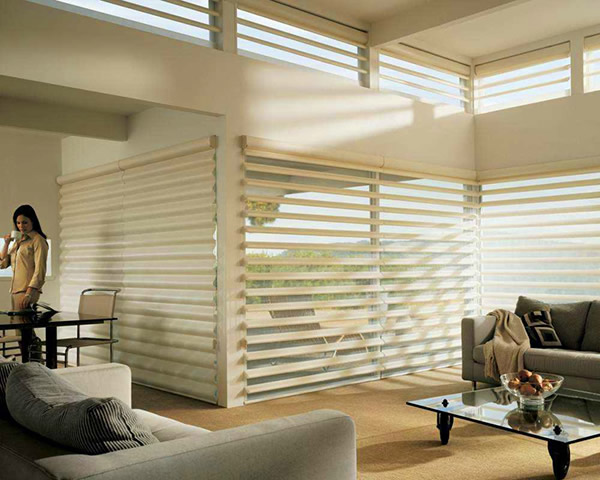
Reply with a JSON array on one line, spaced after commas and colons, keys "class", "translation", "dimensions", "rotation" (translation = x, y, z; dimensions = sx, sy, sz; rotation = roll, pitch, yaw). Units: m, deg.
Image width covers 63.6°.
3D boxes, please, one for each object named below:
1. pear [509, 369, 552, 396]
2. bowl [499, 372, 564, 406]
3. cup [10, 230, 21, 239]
[{"class": "pear", "translation": [1.576, 0.982, 3.370], "dimensions": [0.235, 0.087, 0.195], "rotation": [1, -5, -2]}, {"class": "bowl", "translation": [1.629, 1.017, 3.390], "dimensions": [0.388, 0.141, 0.333], "rotation": [-3, -2, 16]}, {"class": "cup", "translation": [-3.366, -0.064, 5.746], "dimensions": [0.131, 0.069, 0.116], "rotation": [-2, -5, 20]}]
